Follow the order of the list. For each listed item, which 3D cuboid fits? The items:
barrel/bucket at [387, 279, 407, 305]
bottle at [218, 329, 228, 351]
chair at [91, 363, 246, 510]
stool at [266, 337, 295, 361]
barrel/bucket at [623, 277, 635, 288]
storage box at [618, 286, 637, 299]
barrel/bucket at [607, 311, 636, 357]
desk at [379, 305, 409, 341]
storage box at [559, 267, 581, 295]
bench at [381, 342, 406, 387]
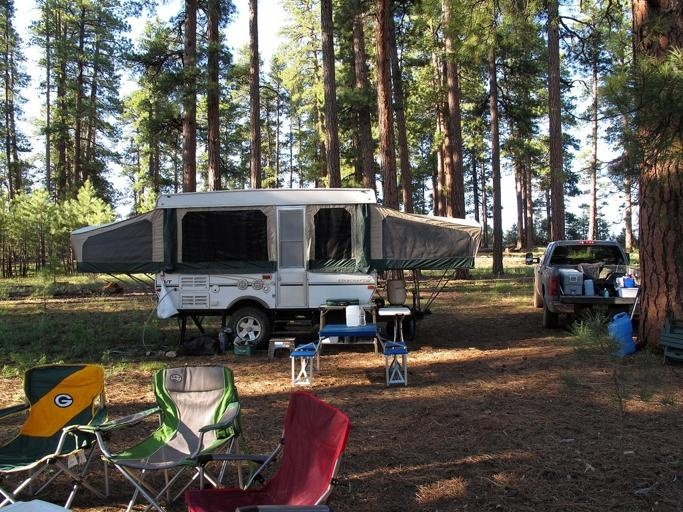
[{"bbox_3d":[1.290,0.895,18.921,0.423,0.643,0.638,-1,13,2],"label":"barrel/bucket"},{"bbox_3d":[-2.706,1.923,18.131,0.202,0.520,0.137,-5,13,-13],"label":"bottle"},{"bbox_3d":[-2.497,3.036,13.321,2.041,2.679,2.298,-2,-4,18],"label":"chair"},{"bbox_3d":[-1.400,2.051,17.713,0.495,0.352,0.521,0,-5,-3],"label":"stool"},{"bbox_3d":[6.593,0.612,18.248,0.266,0.191,0.219,3,14,20],"label":"barrel/bucket"},{"bbox_3d":[6.521,0.840,18.119,0.373,0.233,0.218,2,14,14],"label":"storage box"},{"bbox_3d":[5.532,1.581,15.752,0.551,1.059,0.635,-4,8,21],"label":"barrel/bucket"},{"bbox_3d":[1.190,1.488,17.961,0.758,0.810,0.726,-1,-7,3],"label":"desk"},{"bbox_3d":[5.333,0.606,18.595,0.403,0.567,0.795,0,-1,10],"label":"storage box"},{"bbox_3d":[1.091,2.368,15.950,0.610,1.042,1.153,0,-2,3],"label":"bench"}]
